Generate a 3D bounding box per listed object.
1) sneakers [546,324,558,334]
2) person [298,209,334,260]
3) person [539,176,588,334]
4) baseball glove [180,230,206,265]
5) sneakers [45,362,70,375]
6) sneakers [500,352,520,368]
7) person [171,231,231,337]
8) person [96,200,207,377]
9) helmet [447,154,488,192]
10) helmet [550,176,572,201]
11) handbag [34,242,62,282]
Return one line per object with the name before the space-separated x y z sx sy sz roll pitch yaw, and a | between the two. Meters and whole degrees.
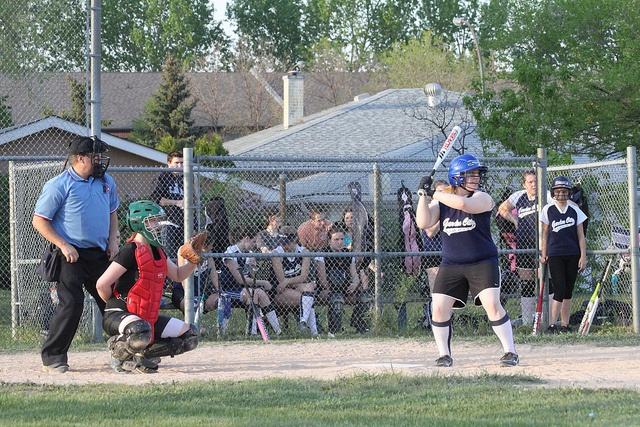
sneakers | 3.989 1.942 17.226 0.203 0.140 0.162 -1 -4 3
person | -0.112 0.358 18.189 0.673 1.001 0.565 -14 30 -19
person | 4.210 0.685 17.326 0.709 2.651 0.619 2 -5 -37
baseball glove | -1.886 0.465 14.912 0.330 0.484 0.162 41 6 -16
sneakers | -3.951 2.277 14.894 0.339 0.136 0.137 4 0 9
sneakers | 2.812 2.157 14.974 0.148 0.130 0.302 -7 -13 31
person | -2.039 1.115 16.739 0.833 2.066 1.208 19 -44 -30
person | -2.667 1.064 14.845 1.316 2.519 0.464 0 -4 -13
helmet | 2.174 -0.633 15.308 0.635 0.504 0.464 -5 -3 32
helmet | 4.123 -0.498 17.152 0.329 0.364 0.267 -2 -4 9
handbag | -4.198 0.697 15.319 0.286 0.605 0.473 1 27 -33
